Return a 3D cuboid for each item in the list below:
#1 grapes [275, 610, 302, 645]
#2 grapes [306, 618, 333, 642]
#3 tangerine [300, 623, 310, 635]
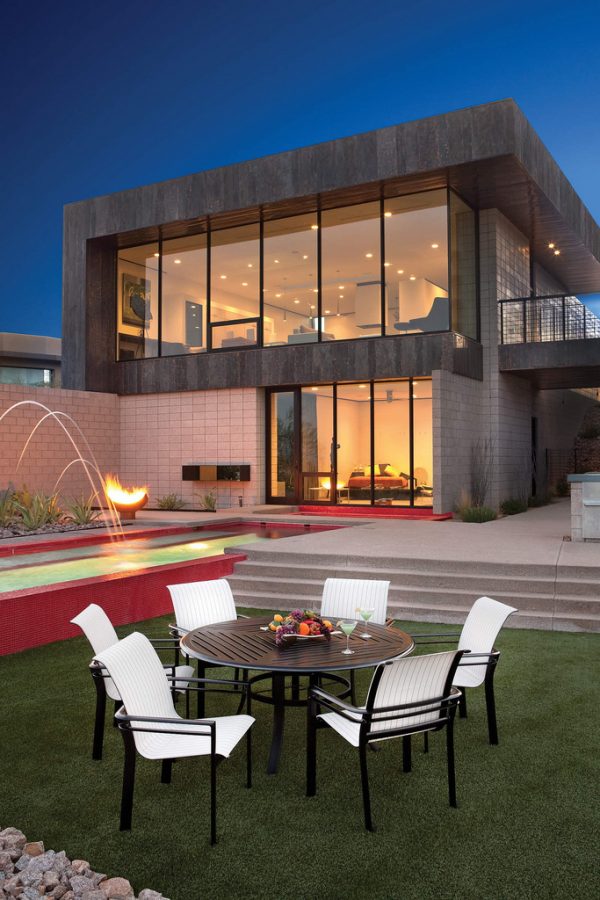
[{"bbox_3d":[-0.067,0.940,3.457,0.117,0.053,0.129,0,8,26],"label":"grapes"},{"bbox_3d":[0.097,0.968,3.542,0.142,0.094,0.186,2,0,0],"label":"grapes"},{"bbox_3d":[0.027,0.944,3.467,0.059,0.061,0.046,2,0,-27],"label":"tangerine"}]
